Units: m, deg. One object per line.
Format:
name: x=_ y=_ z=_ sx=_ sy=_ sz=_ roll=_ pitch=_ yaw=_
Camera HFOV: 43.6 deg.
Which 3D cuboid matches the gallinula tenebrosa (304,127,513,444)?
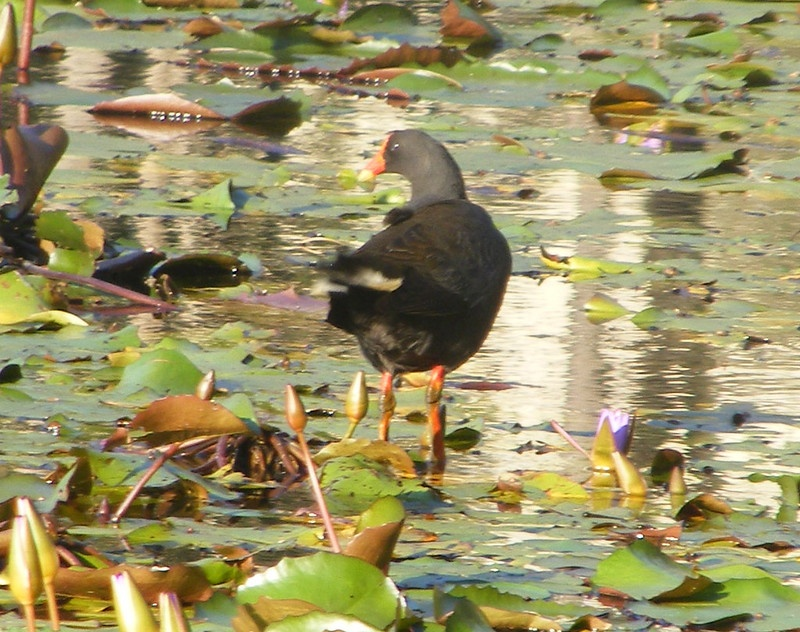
gallinula tenebrosa: x=0.115 y=-0.195 z=3.324 sx=0.509 sy=1.010 sz=1.694 roll=7 pitch=0 yaw=5
